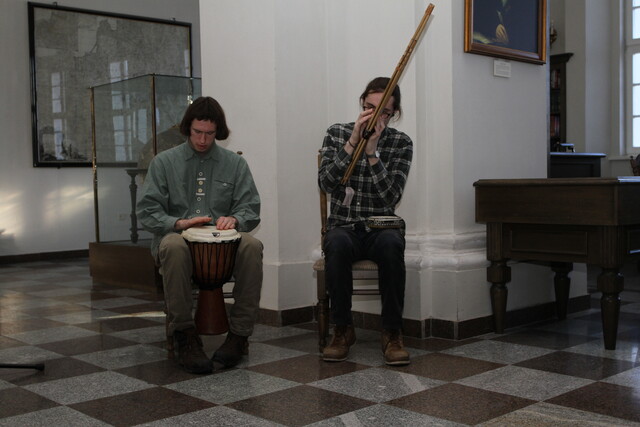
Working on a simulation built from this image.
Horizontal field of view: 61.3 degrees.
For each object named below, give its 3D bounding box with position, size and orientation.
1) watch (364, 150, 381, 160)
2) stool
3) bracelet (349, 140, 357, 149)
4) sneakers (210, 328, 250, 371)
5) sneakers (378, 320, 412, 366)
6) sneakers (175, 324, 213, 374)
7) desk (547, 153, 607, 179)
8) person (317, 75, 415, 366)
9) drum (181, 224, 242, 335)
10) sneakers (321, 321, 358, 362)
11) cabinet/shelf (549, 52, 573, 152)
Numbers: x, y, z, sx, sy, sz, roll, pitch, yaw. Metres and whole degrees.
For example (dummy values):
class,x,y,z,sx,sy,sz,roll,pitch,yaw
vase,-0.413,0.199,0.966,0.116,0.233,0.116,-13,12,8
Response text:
class,x,y,z,sx,sy,sz,roll,pitch,yaw
watch,0.332,-0.365,3.372,0.080,0.045,0.059,4,-5,-6
stool,-0.717,0.537,3.387,0.246,0.438,0.287,3,-6,25
bracelet,0.189,-0.417,3.273,0.072,0.024,0.029,12,16,12
sneakers,-0.526,0.817,3.197,0.120,0.206,0.285,3,-8,29
sneakers,0.452,0.782,3.228,0.172,0.221,0.204,-1,8,8
sneakers,-0.776,0.783,3.191,0.146,0.171,0.393,8,7,-44
desk,2.454,-0.471,5.162,0.375,0.269,1.032,3,10,30
person,0.278,0.016,3.371,0.582,1.710,0.647,-1,8,9
drum,-0.652,0.435,3.263,0.316,0.724,0.287,6,11,44
sneakers,0.117,0.793,3.329,0.113,0.135,0.311,1,1,19
cabinet/shelf,3.689,-1.778,8.300,0.315,1.337,0.151,5,11,42
